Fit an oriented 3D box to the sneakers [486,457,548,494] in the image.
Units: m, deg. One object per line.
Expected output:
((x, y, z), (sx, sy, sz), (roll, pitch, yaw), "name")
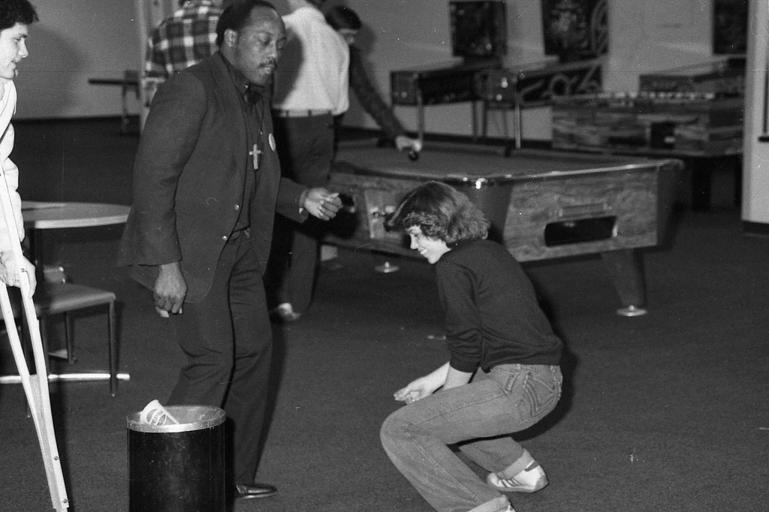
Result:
((0.484, 0.783, 2.481), (0.218, 0.092, 0.117), (4, 23, 9), "sneakers")

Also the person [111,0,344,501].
((-0.549, 0.037, 2.274), (0.314, 1.723, 0.554), (12, 21, 40), "person")

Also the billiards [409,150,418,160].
((0.185, -0.647, 4.313), (0.073, 0.062, 0.024), (0, 9, -3), "billiards")
